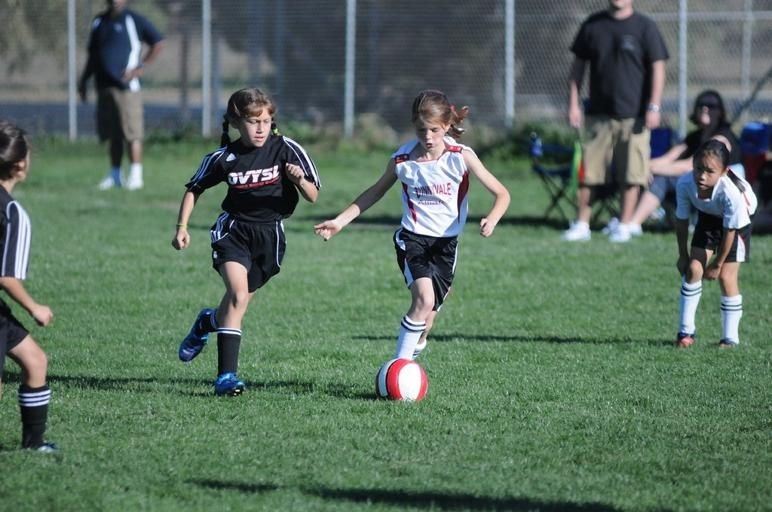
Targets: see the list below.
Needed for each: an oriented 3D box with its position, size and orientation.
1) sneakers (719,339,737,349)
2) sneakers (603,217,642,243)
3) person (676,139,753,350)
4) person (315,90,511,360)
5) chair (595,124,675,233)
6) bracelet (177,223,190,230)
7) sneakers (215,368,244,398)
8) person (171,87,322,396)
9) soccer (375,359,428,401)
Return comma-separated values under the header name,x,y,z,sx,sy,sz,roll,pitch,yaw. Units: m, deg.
name,x,y,z,sx,sy,sz,roll,pitch,yaw
sneakers,3.305,0.839,12.645,0.141,0.069,0.083,-8,15,12
sneakers,2.844,-0.314,15.808,0.202,0.263,0.579,-2,1,27
person,3.142,-0.128,12.598,0.721,1.993,0.560,2,8,7
person,0.382,-0.250,11.966,1.454,2.499,0.600,2,8,5
chair,2.981,-0.942,15.656,0.745,1.323,0.860,24,2,-2
bracelet,-1.829,-0.277,11.848,0.079,0.063,0.125,-1,10,-13
sneakers,-1.406,1.140,11.787,0.296,0.205,0.127,3,9,10
person,-1.265,-0.158,11.935,1.287,2.712,0.717,-1,8,-10
soccer,0.146,1.088,11.796,0.400,0.415,0.316,1,3,-30
